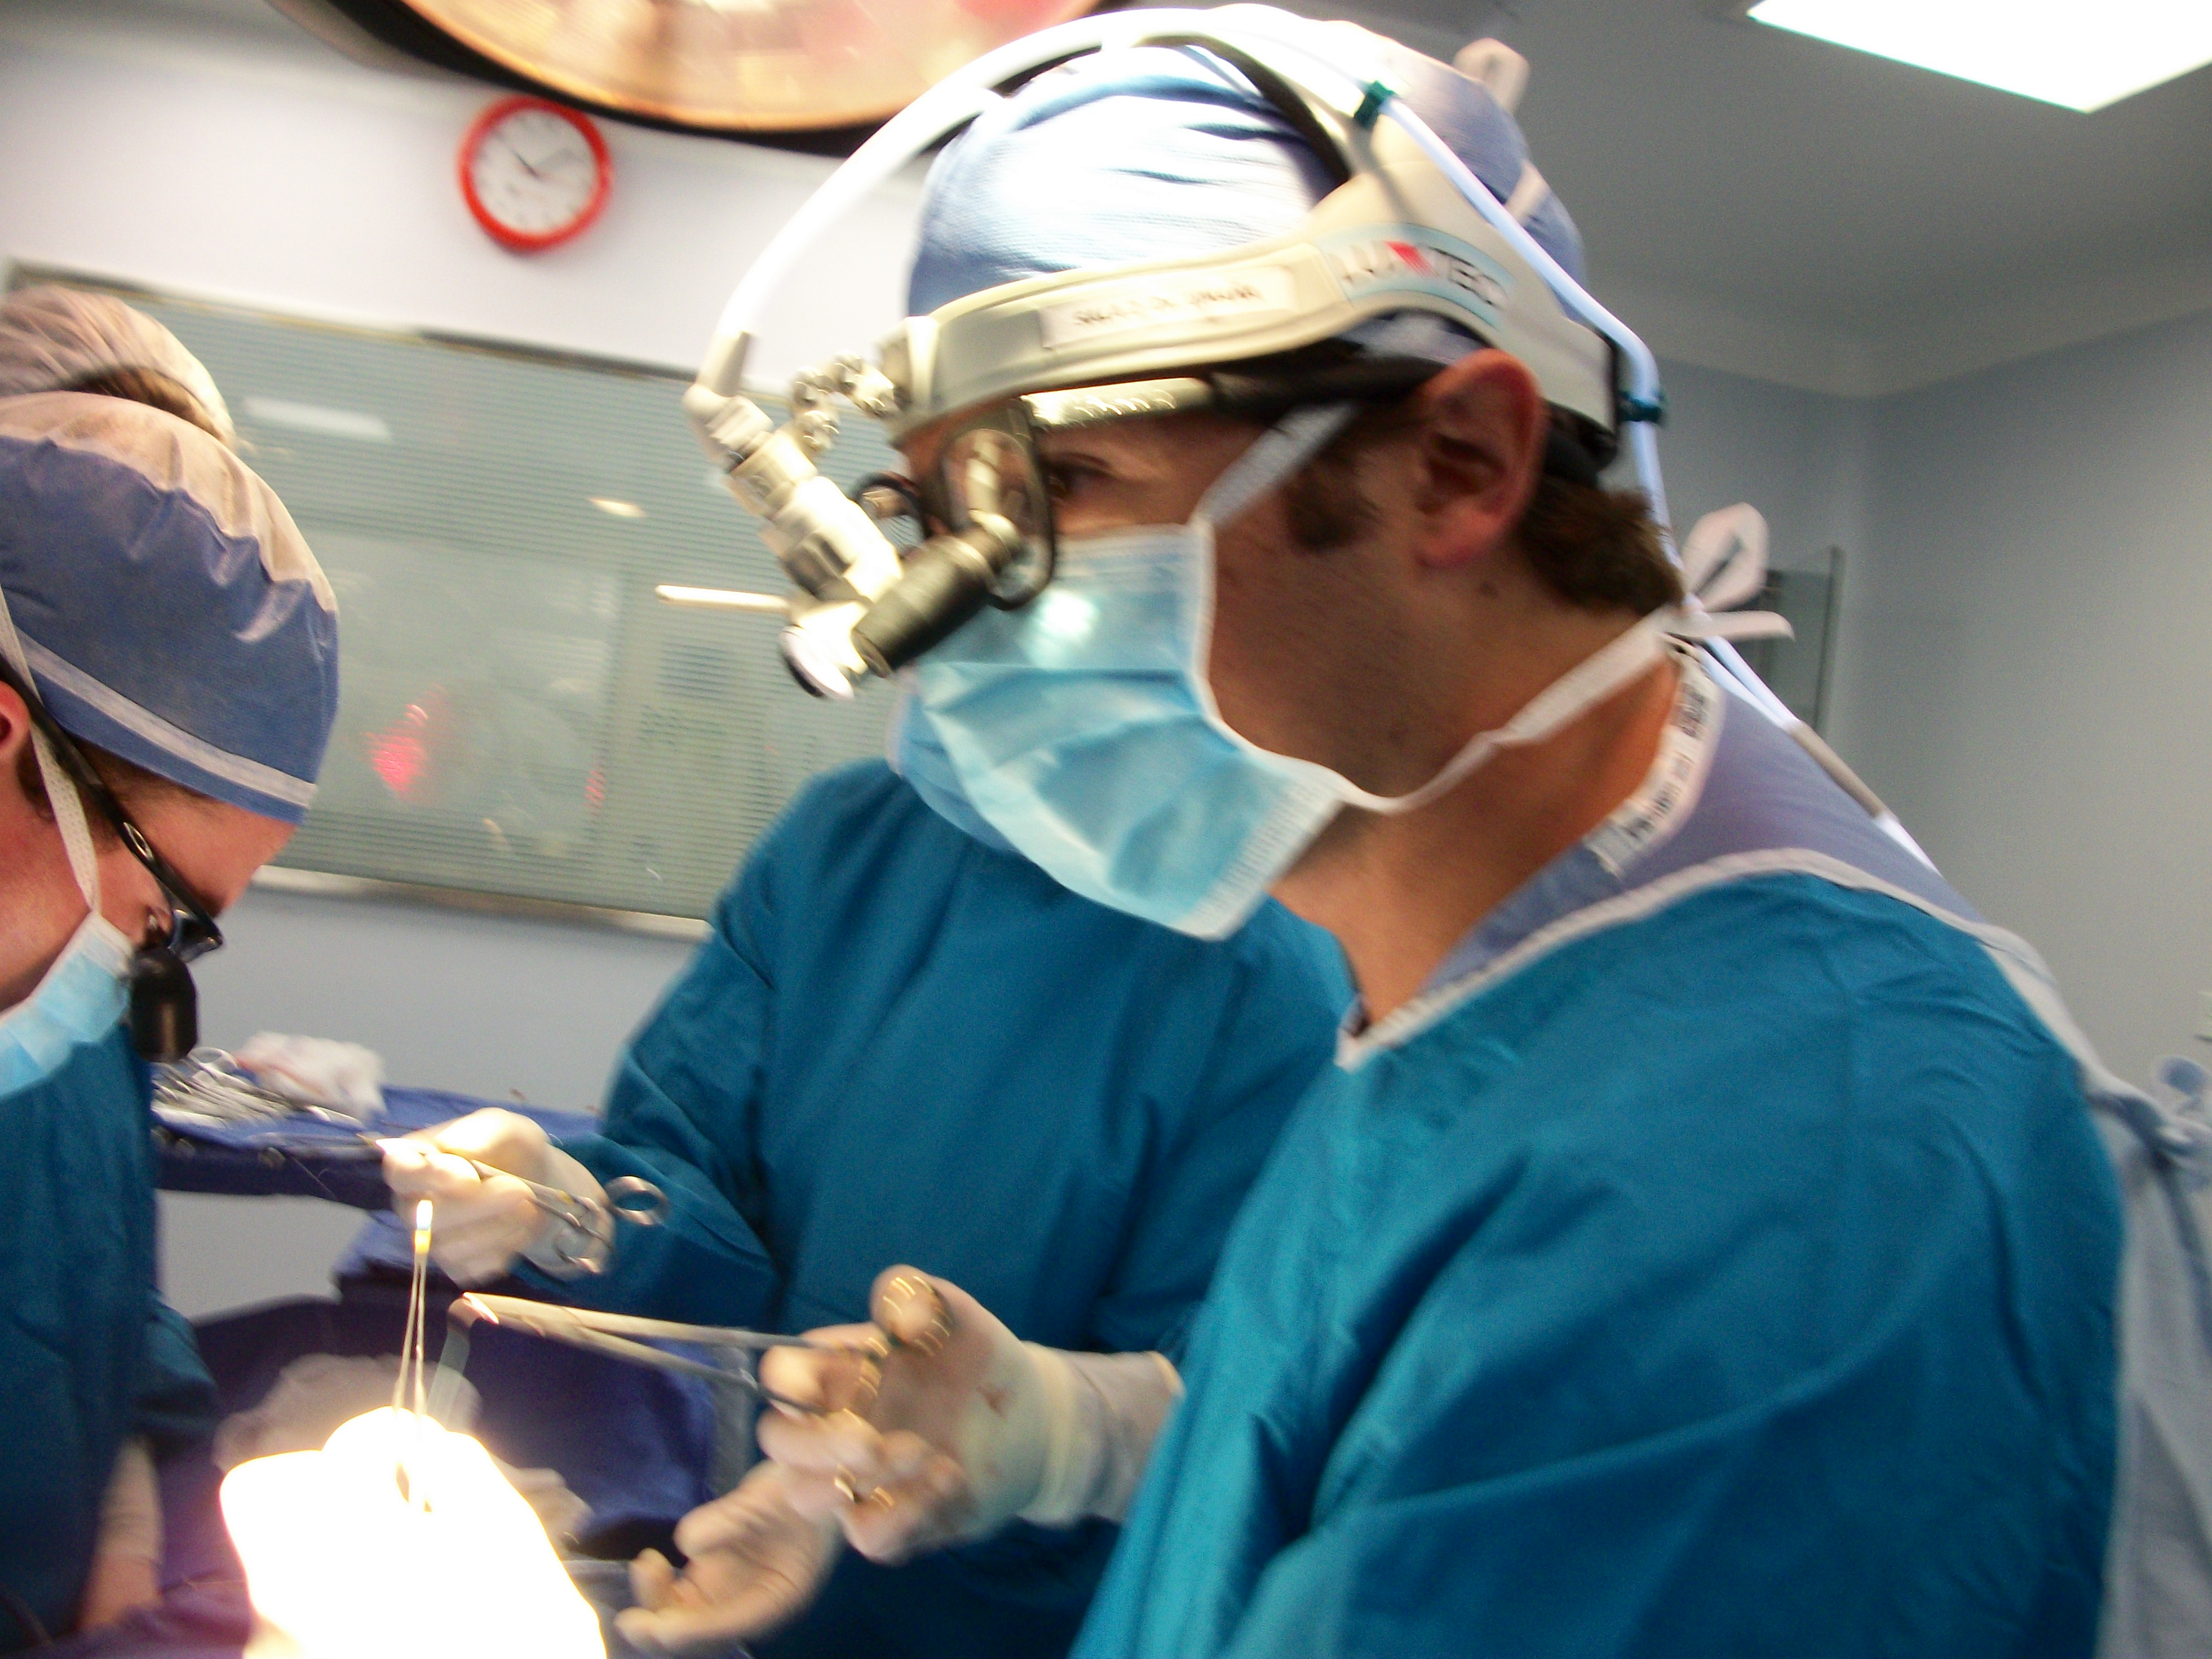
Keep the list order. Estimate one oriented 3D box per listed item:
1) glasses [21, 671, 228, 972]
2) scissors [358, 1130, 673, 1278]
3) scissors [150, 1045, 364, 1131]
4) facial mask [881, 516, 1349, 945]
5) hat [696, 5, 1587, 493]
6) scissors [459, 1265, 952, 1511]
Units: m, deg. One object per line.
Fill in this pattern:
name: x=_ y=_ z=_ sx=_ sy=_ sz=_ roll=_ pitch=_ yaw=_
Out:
glasses: x=-0.840 y=-0.003 z=1.566 sx=0.053 sy=0.195 sz=0.192 roll=-27 pitch=-8 yaw=-6
scissors: x=-0.488 y=0.298 z=1.494 sx=0.172 sy=0.078 sz=0.147 roll=13 pitch=12 yaw=7
scissors: x=-0.762 y=0.247 z=1.638 sx=0.115 sy=0.025 sz=0.080 roll=14 pitch=6 yaw=1
facial mask: x=0.005 y=-0.010 z=1.128 sx=0.115 sy=0.256 sz=0.223 roll=39 pitch=11 yaw=-46
hat: x=0.044 y=-0.337 z=1.123 sx=0.394 sy=0.232 sz=0.284 roll=-18 pitch=12 yaw=-3
scissors: x=-0.311 y=0.386 z=1.351 sx=0.440 sy=0.054 sz=0.160 roll=21 pitch=-12 yaw=-6
